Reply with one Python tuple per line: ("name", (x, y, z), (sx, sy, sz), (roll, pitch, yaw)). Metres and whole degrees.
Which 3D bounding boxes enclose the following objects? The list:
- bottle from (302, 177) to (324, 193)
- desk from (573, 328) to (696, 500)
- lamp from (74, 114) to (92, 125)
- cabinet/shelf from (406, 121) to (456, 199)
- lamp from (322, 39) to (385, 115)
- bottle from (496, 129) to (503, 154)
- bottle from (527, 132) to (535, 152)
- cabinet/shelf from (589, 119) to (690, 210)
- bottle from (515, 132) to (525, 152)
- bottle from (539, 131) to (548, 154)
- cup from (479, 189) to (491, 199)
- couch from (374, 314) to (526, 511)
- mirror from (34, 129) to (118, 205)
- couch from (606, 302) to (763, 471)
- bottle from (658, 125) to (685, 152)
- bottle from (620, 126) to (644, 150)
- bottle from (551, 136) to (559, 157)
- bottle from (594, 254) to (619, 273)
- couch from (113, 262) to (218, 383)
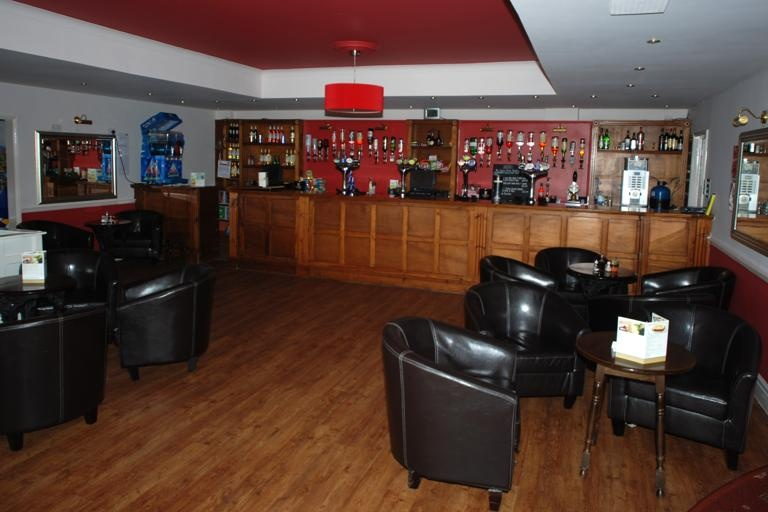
("bottle", (-1.446, -1.416, 10.599), (0.578, 0.310, 0.383), (3, 4, 11))
("desk", (2.099, 1.346, 4.943), (1.210, 1.325, 1.136), (0, 6, -2))
("lamp", (-5.791, -2.632, 10.195), (0.168, 0.199, 0.401), (2, 11, 16))
("cabinet/shelf", (0.930, -1.947, 10.339), (1.086, 1.536, 2.339), (0, 11, 5))
("lamp", (-0.485, -2.710, 8.169), (1.030, 1.044, 1.012), (4, 9, -1))
("bottle", (2.387, -2.349, 10.995), (0.145, 0.505, 0.172), (1, 11, 8))
("bottle", (2.988, -2.347, 10.880), (0.147, 0.392, 0.211), (5, 12, 28))
("cabinet/shelf", (4.865, -1.783, 10.009), (1.951, 2.172, 0.645), (1, 3, 15))
("bottle", (2.779, -2.360, 10.901), (0.168, 0.378, 0.191), (2, 11, 12))
("bottle", (3.207, -2.314, 10.787), (0.146, 0.452, 0.229), (3, 11, 20))
("cup", (2.045, -1.278, 10.753), (0.189, 0.195, 0.403), (5, 12, 28))
("couch", (0.499, 1.239, 4.897), (1.424, 1.570, 1.508), (1, 11, 9))
("mirror", (-5.937, -1.740, 10.325), (0.062, 1.322, 1.639), (12, 14, 23))
("couch", (2.852, 1.122, 5.318), (1.483, 1.433, 1.418), (2, 3, 36))
("bottle", (5.469, -2.232, 10.140), (0.415, 0.456, 0.265), (3, 11, 17))
("bottle", (4.836, -2.301, 10.341), (0.440, 0.589, 0.182), (5, 7, 21))
("bottle", (3.453, -2.223, 10.761), (0.147, 0.405, 0.122), (2, 11, 13))
("bottle", (2.776, 0.095, 6.679), (0.243, 0.201, 0.236), (0, -1, -21))
("couch", (-2.402, 0.733, 6.250), (1.166, 1.291, 1.065), (1, 3, -17))
